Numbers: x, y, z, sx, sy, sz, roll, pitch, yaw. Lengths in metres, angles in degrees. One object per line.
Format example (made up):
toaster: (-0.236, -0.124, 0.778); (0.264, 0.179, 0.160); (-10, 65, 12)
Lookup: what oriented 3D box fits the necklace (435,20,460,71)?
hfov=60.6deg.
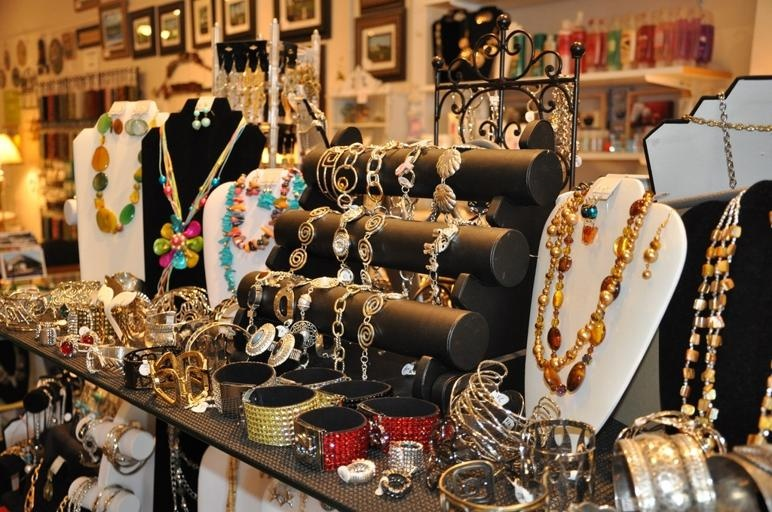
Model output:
necklace: (0.325, -1.159, 3.520); (0.062, 0.256, 0.213); (-5, 8, -35)

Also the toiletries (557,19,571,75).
toiletries: (0.861, -1.008, 3.191); (0.070, 0.282, 0.354); (1, 7, 14)

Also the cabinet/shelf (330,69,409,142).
cabinet/shelf: (-0.117, -0.890, 3.885); (0.219, 0.413, 0.533); (-7, 9, -44)

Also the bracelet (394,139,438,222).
bracelet: (0.054, -0.191, 1.670); (0.043, 0.187, 0.134); (4, 21, -8)

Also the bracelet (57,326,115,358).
bracelet: (-0.812, 0.209, 1.763); (0.082, 0.056, 0.132); (-7, 6, -6)

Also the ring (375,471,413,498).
ring: (0.019, 0.432, 1.254); (0.051, 0.025, 0.040); (-19, 43, -30)

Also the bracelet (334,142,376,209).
bracelet: (-0.098, -0.213, 1.746); (0.036, 0.160, 0.120); (11, 16, 3)

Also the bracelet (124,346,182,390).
bracelet: (-0.580, 0.259, 1.599); (0.085, 0.063, 0.122); (0, 4, 3)

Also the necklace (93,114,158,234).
necklace: (-0.885, -0.276, 2.205); (0.214, 0.397, 0.071); (1, 7, 17)

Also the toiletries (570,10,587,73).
toiletries: (0.918, -1.039, 3.132); (0.073, 0.327, 0.476); (1, 7, 17)

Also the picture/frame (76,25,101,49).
picture/frame: (-2.690, -2.003, 5.981); (0.243, 0.150, 0.075); (9, 6, 34)

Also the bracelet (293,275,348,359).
bracelet: (-0.161, 0.145, 1.619); (0.132, 0.186, 0.075); (-6, -4, 16)

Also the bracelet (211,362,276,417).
bracelet: (-0.317, 0.281, 1.456); (0.115, 0.081, 0.120); (10, 19, 15)

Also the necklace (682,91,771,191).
necklace: (0.788, -0.267, 1.513); (0.219, 0.261, 0.025); (-4, 7, 19)

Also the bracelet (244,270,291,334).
bracelet: (-0.332, 0.109, 1.689); (0.136, 0.190, 0.138); (5, 1, -24)

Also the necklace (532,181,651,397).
necklace: (0.450, 0.056, 1.463); (0.098, 0.446, 0.238); (24, -11, -29)

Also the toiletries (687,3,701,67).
toiletries: (1.367, -1.000, 2.905); (0.055, 0.308, 0.214); (2, 7, 25)

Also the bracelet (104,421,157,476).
bracelet: (-0.671, 0.522, 1.734); (0.123, 0.150, 0.050); (-6, 11, -11)

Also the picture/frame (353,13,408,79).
picture/frame: (-0.019, -1.244, 3.888); (0.417, 0.508, 0.049); (4, 6, 41)

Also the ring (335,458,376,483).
ring: (-0.055, 0.412, 1.262); (0.046, 0.020, 0.041); (-10, 13, -43)

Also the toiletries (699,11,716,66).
toiletries: (1.404, -0.955, 2.885); (0.135, 0.230, 0.034); (-7, 9, -43)

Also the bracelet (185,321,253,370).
bracelet: (-0.424, 0.216, 1.641); (0.125, 0.131, 0.029); (-7, 16, -43)

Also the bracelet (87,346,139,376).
bracelet: (-0.706, 0.247, 1.676); (0.089, 0.040, 0.091); (-1, 5, -44)

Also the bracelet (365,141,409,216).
bracelet: (0.003, -0.194, 1.762); (0.125, 0.216, 0.043); (8, 18, 37)

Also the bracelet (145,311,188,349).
bracelet: (-0.567, 0.187, 1.703); (0.092, 0.071, 0.078); (2, 4, 45)

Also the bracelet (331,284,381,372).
bracelet: (-0.073, 0.173, 1.628); (0.034, 0.201, 0.110); (2, 5, -40)

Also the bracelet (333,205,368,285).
bracelet: (-0.101, -0.023, 1.663); (0.044, 0.179, 0.102); (1, 5, -25)

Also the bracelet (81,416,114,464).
bracelet: (-0.785, 0.503, 1.827); (0.094, 0.136, 0.048); (20, 13, 31)

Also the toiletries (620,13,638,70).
toiletries: (1.108, -0.973, 2.998); (0.077, 0.239, 0.067); (4, 8, 39)

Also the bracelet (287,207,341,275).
bracelet: (-0.199, -0.038, 1.741); (0.042, 0.173, 0.124); (3, 25, -48)

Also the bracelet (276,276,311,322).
bracelet: (-0.239, 0.115, 1.676); (0.080, 0.112, 0.031); (-10, -19, 32)

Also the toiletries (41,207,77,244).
toiletries: (-3.237, -0.333, 6.492); (0.167, 0.330, 0.798); (-6, 8, -37)

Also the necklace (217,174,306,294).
necklace: (-0.423, -0.093, 2.084); (0.250, 0.371, 0.105); (9, 3, -12)

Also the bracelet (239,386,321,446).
bracelet: (-0.225, 0.323, 1.369); (0.107, 0.074, 0.142); (-5, 16, -22)

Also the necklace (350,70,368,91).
necklace: (-0.154, -1.008, 3.783); (0.020, 0.157, 0.129); (-4, 7, -43)

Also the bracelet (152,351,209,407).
bracelet: (-0.479, 0.280, 1.529); (0.112, 0.127, 0.131); (6, 12, 2)

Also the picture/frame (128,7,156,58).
picture/frame: (-1.995, -1.855, 5.413); (0.027, 0.409, 0.381); (-7, 18, -44)

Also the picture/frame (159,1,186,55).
picture/frame: (-1.652, -1.793, 5.124); (0.040, 0.547, 0.439); (-4, 6, -40)

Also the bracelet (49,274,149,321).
bracelet: (-0.839, 0.100, 1.899); (0.212, 0.104, 0.162); (-7, -1, -22)

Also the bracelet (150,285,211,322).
bracelet: (-0.570, 0.133, 1.811); (0.121, 0.051, 0.096); (-4, -2, 31)

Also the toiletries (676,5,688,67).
toiletries: (1.274, -0.950, 2.839); (0.048, 0.237, 0.084); (4, 8, 37)

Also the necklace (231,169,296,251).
necklace: (-0.385, -0.135, 1.981); (0.173, 0.261, 0.089); (1, -3, 11)

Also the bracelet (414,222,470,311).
bracelet: (0.139, 0.024, 1.540); (0.041, 0.186, 0.128); (7, -6, -10)
